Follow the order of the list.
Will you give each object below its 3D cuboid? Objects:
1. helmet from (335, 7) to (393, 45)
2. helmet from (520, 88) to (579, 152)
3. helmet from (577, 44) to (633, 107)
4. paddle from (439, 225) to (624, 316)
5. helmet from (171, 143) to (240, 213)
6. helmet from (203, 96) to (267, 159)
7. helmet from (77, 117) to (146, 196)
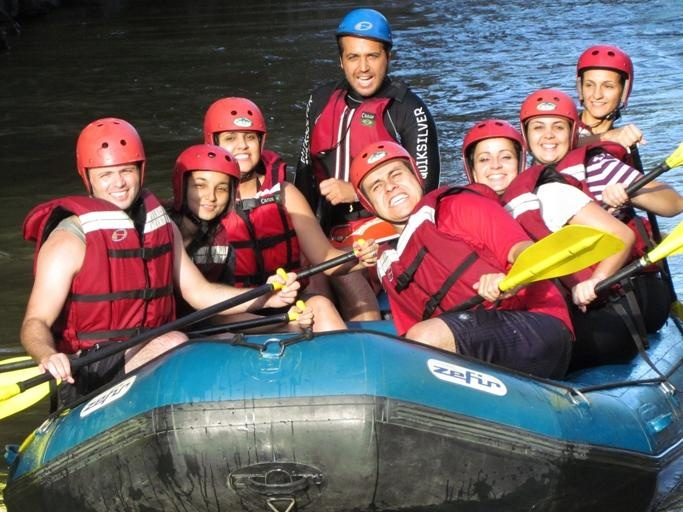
[{"bbox_3d":[0.175,-1.643,6.486,0.394,0.303,0.314,3,-2,-15],"label":"helmet"},{"bbox_3d":[1.299,-0.902,5.833,0.336,0.357,0.417,-2,-12,12],"label":"helmet"},{"bbox_3d":[1.874,-1.301,6.548,0.392,0.366,0.500,2,7,19],"label":"helmet"},{"bbox_3d":[0.911,0.114,4.679,1.059,0.238,0.091,-29,-34,30],"label":"paddle"},{"bbox_3d":[-0.809,-0.459,5.336,0.364,0.332,0.383,-2,2,-34],"label":"helmet"},{"bbox_3d":[-0.618,-0.845,5.884,0.359,0.355,0.380,-15,-11,23],"label":"helmet"},{"bbox_3d":[-1.239,-0.599,5.070,0.351,0.383,0.427,-4,6,-17],"label":"helmet"}]
